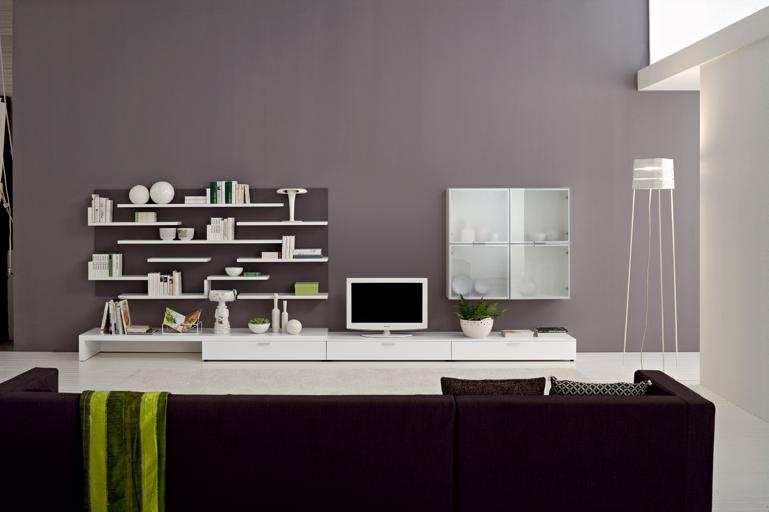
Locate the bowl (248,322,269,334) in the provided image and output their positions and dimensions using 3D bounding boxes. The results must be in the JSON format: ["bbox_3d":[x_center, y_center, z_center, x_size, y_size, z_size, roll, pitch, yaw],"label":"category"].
[{"bbox_3d":[-1.476,0.845,7.658,0.168,0.079,0.169,0,-2,0],"label":"bowl"}]

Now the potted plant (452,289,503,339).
[{"bbox_3d":[1.101,0.716,7.704,0.528,0.382,0.516,0,-2,6],"label":"potted plant"}]

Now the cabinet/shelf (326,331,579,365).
[{"bbox_3d":[0.777,1.081,7.609,2.897,0.316,0.146,0,4,0],"label":"cabinet/shelf"}]

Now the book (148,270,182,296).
[{"bbox_3d":[-2.670,0.355,7.868,0.410,0.349,0.287,1,-5,-11],"label":"book"}]

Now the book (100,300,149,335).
[{"bbox_3d":[-3.120,0.743,7.743,0.530,0.380,0.394,1,-3,-4],"label":"book"}]

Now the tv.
[{"bbox_3d":[0.032,0.596,7.743,0.722,0.485,0.196,0,-2,1],"label":"tv"}]

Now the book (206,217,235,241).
[{"bbox_3d":[-1.985,-0.337,7.878,0.342,0.284,0.139,-1,4,-13],"label":"book"}]

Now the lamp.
[{"bbox_3d":[3.156,0.040,7.579,0.639,2.418,1.119,2,5,24],"label":"lamp"}]

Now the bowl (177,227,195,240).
[{"bbox_3d":[-2.425,-0.274,7.899,0.162,0.121,0.171,1,2,0],"label":"bowl"}]

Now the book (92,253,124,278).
[{"bbox_3d":[-3.379,0.120,7.840,0.384,0.304,0.181,-2,5,-24],"label":"book"}]

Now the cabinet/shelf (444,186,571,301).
[{"bbox_3d":[1.450,-0.150,8.017,1.602,1.337,0.519,-1,2,-12],"label":"cabinet/shelf"}]

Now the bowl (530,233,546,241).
[{"bbox_3d":[1.857,-0.235,7.775,0.114,0.069,0.111,-2,3,0],"label":"bowl"}]

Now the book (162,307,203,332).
[{"bbox_3d":[-2.495,0.743,7.874,0.326,0.170,0.358,4,-1,-26],"label":"book"}]

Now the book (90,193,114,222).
[{"bbox_3d":[-3.439,-0.570,7.807,0.249,0.336,0.105,0,4,0],"label":"book"}]

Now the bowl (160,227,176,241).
[{"bbox_3d":[-2.641,-0.277,7.875,0.164,0.120,0.149,-1,2,-40],"label":"bowl"}]

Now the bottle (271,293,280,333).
[{"bbox_3d":[-1.319,0.684,7.867,0.120,0.442,0.344,0,4,-9],"label":"bottle"}]
